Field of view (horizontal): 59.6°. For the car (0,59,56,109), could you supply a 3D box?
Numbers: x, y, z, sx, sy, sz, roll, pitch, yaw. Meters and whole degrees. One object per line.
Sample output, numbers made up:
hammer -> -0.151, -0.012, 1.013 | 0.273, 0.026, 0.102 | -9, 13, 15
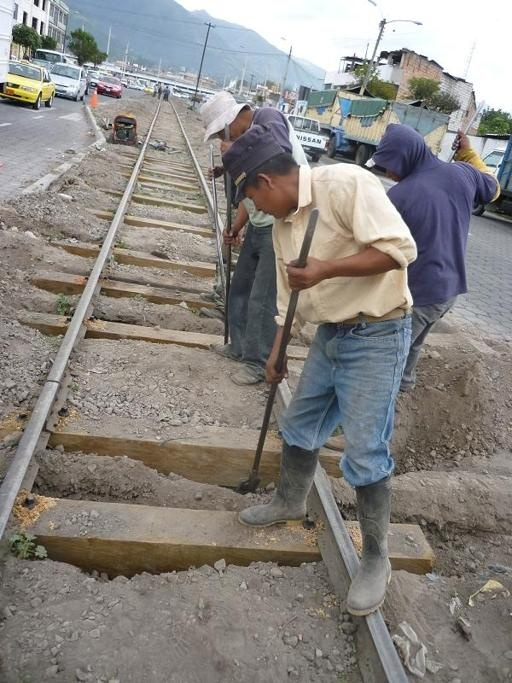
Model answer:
car -> -10.707, -11.942, 21.022 | 2.200, 1.495, 3.277 | 5, 30, -19

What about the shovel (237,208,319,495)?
shovel -> 0.098, 0.125, 2.025 | 0.201, 1.422, 0.034 | 14, 10, -35

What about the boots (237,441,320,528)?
boots -> 0.114, 0.715, 2.214 | 0.472, 0.533, 0.179 | 4, 38, 3
